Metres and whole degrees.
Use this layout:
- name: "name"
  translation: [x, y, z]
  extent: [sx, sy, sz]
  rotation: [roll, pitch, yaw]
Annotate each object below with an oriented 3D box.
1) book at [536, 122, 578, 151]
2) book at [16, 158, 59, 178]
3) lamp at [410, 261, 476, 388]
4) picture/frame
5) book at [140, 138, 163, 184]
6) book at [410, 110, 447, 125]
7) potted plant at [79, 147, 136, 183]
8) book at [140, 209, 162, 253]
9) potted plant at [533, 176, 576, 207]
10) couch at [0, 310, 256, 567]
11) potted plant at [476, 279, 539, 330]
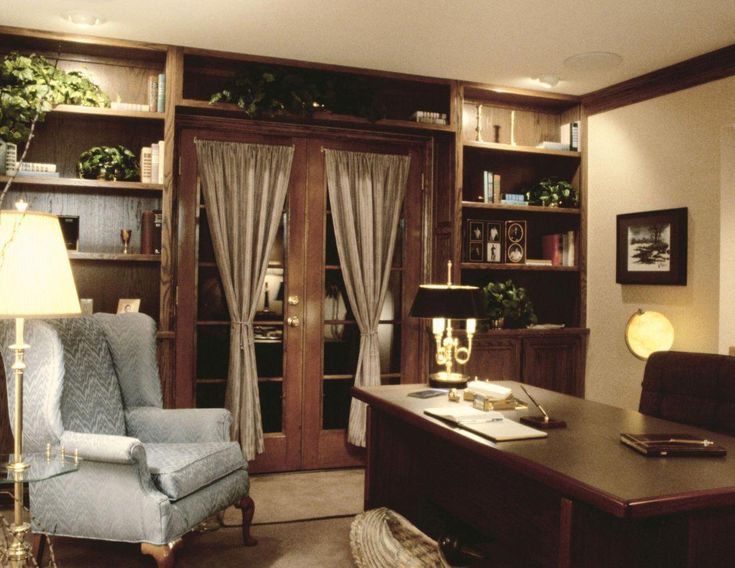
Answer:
- name: "book"
  translation: [1.641, -1.244, 5.539]
  extent: [0.311, 0.237, 0.311]
  rotation: [-1, 3, -17]
- name: "book"
  translation: [-2.253, -0.790, 4.396]
  extent: [0.231, 0.125, 0.300]
  rotation: [-5, 8, -21]
- name: "lamp"
  translation: [0.489, 0.264, 3.777]
  extent: [0.462, 0.677, 0.464]
  rotation: [7, -14, -20]
- name: "picture/frame"
  translation: [2.171, -0.282, 4.851]
  extent: [0.041, 0.624, 0.605]
  rotation: [1, 3, -32]
- name: "book"
  translation: [-1.547, -0.854, 4.548]
  extent: [0.266, 0.296, 0.132]
  rotation: [4, 10, 39]
- name: "book"
  translation: [0.514, -1.318, 5.133]
  extent: [0.305, 0.112, 0.171]
  rotation: [-4, 8, -13]
- name: "potted plant"
  translation: [-1.793, -0.824, 4.422]
  extent: [0.285, 0.135, 0.283]
  rotation: [1, 6, -37]
- name: "book"
  translation: [-1.546, -0.366, 4.559]
  extent: [0.185, 0.298, 0.097]
  rotation: [-2, 8, 3]
- name: "potted plant"
  translation: [1.594, -0.774, 5.455]
  extent: [0.437, 0.251, 0.183]
  rotation: [-6, 9, -25]
- name: "couch"
  translation: [-1.324, 0.849, 4.129]
  extent: [1.373, 1.840, 1.521]
  rotation: [-1, -1, 16]
- name: "potted plant"
  translation: [1.118, 0.200, 5.321]
  extent: [0.432, 0.351, 0.489]
  rotation: [3, 17, 8]
